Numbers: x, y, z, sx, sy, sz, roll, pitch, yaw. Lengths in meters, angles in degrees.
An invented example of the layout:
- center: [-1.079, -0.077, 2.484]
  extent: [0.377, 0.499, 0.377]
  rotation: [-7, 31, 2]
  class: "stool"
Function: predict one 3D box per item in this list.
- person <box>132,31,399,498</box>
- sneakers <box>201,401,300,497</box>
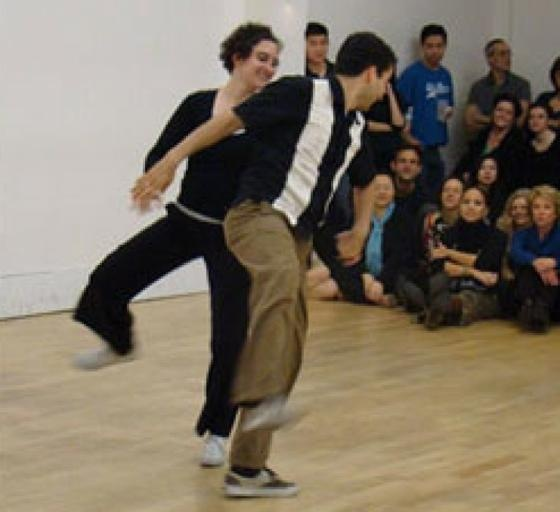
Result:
- center: [-0.002, -0.003, 1.779]
  extent: [0.789, 1.357, 0.398]
  rotation: [-2, 10, -32]
  class: "person"
- center: [-0.106, 0.587, 1.835]
  extent: [0.293, 0.360, 0.196]
  rotation: [0, -6, -5]
  class: "sneakers"
